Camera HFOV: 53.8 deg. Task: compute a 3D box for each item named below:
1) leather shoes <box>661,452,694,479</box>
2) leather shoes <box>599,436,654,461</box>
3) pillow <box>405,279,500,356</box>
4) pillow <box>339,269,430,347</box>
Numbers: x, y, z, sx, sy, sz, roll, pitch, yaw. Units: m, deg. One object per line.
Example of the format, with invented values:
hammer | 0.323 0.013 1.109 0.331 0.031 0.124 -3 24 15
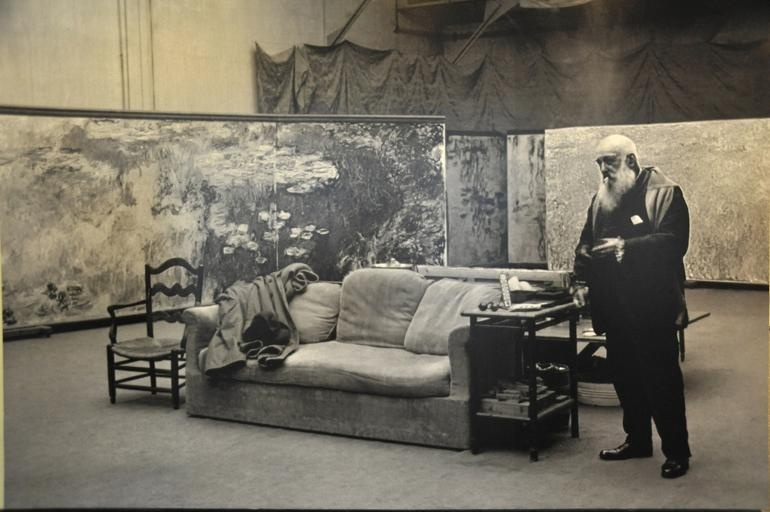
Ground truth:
leather shoes | 2.178 1.564 5.619 0.098 0.105 0.259 -1 0 43
leather shoes | 1.870 1.498 5.881 0.465 0.183 0.157 0 -1 -3
pillow | 0.540 0.565 6.438 0.663 0.636 0.203 10 -16 37
pillow | 0.019 0.476 6.599 0.564 0.481 0.299 7 -13 27
